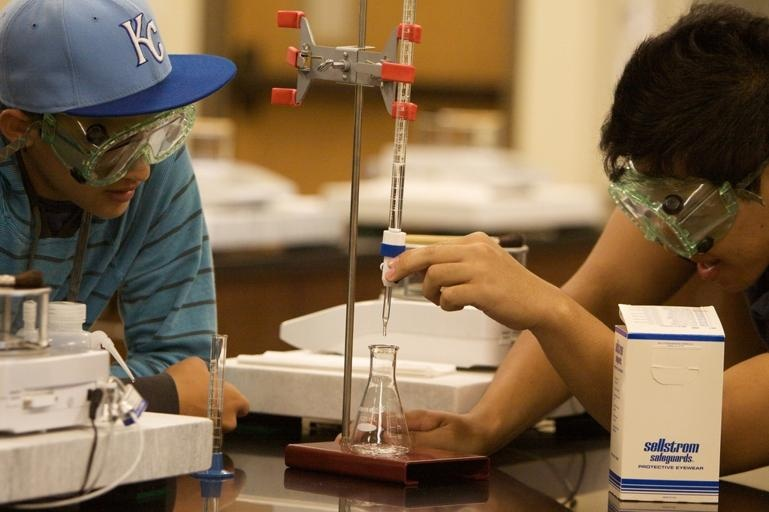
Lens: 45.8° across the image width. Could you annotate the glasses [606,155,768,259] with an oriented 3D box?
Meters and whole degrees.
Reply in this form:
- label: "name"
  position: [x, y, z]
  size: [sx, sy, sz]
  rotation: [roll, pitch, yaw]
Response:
- label: "glasses"
  position: [0.571, -0.085, 1.729]
  size: [0.210, 0.099, 0.208]
  rotation: [-24, -8, 4]
